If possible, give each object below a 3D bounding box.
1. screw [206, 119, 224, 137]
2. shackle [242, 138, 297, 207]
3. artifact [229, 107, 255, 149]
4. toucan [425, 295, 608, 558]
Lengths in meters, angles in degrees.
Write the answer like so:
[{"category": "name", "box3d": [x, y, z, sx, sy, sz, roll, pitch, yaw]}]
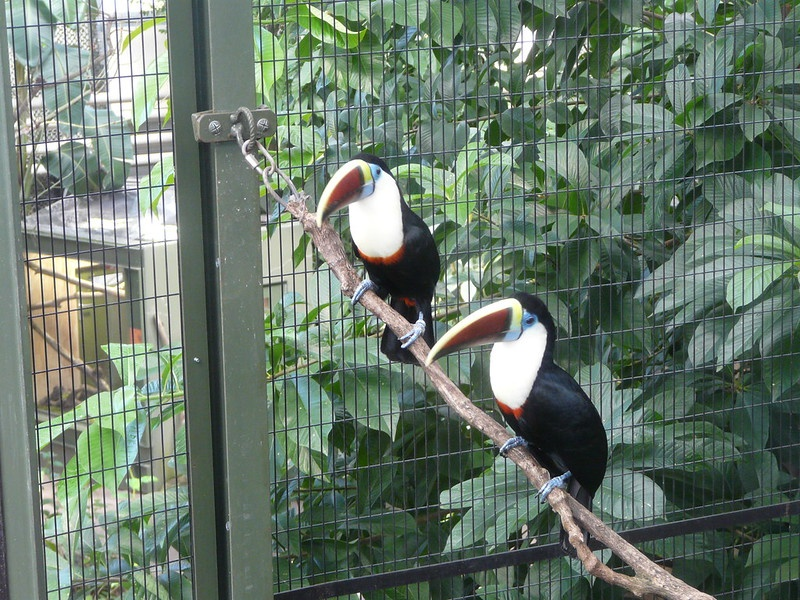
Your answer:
[{"category": "screw", "box3d": [-0.473, -0.443, 2.791, 0.034, 0.038, 0.012, -5, -8, -19]}, {"category": "shackle", "box3d": [-0.344, -0.317, 2.854, 0.109, 0.198, 0.090, -18, 24, -38]}, {"category": "artifact", "box3d": [-0.403, -0.438, 2.805, 0.062, 0.112, 0.044, -5, -9, -12]}, {"category": "toucan", "box3d": [0.326, 0.284, 2.911, 0.273, 0.596, 0.531, -15, -12, 43]}]
